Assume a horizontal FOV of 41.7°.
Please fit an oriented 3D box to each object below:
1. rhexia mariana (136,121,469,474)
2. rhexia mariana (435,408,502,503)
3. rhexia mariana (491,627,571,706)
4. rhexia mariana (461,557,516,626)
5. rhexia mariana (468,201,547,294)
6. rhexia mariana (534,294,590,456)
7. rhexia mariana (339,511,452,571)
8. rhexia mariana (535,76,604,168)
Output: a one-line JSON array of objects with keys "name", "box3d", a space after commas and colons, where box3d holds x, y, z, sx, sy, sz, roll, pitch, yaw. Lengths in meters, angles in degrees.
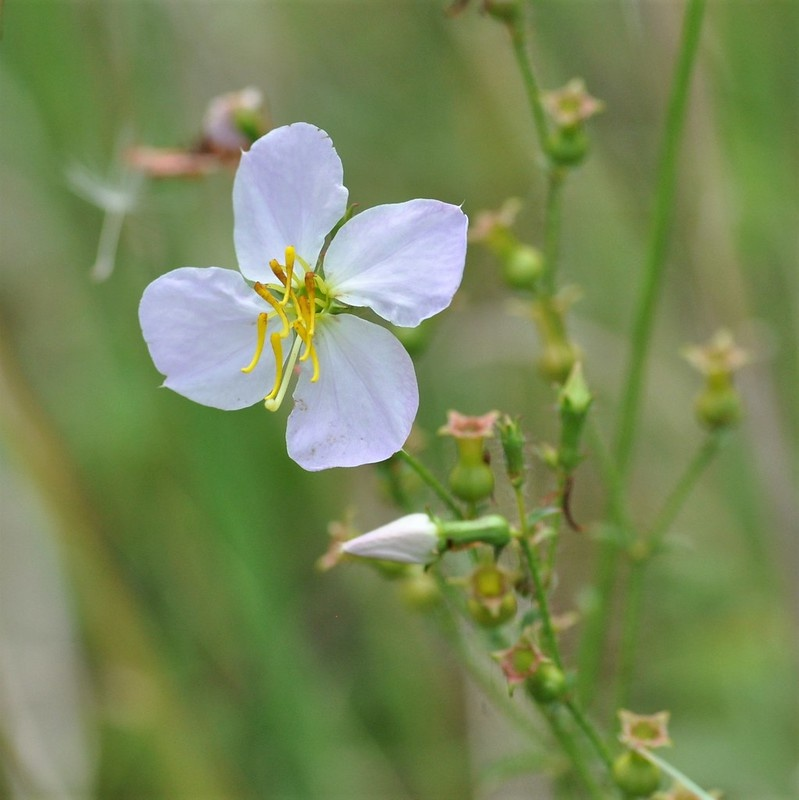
[{"name": "rhexia mariana", "box3d": [-0.076, -0.081, 0.814, 0.185, 0.092, 0.276, 26, 61, 20]}, {"name": "rhexia mariana", "box3d": [0.049, 0.035, 0.839, 0.052, 0.080, 0.061, -4, 22, -1]}, {"name": "rhexia mariana", "box3d": [0.099, 0.204, 0.804, 0.038, 0.045, 0.072, 39, -2, 29]}, {"name": "rhexia mariana", "box3d": [0.066, 0.144, 0.776, 0.040, 0.044, 0.043, 30, -11, 9]}, {"name": "rhexia mariana", "box3d": [0.104, -0.145, 0.991, 0.058, 0.074, 0.104, -16, 15, -10]}, {"name": "rhexia mariana", "box3d": [0.133, -0.020, 0.895, 0.033, 0.201, 0.053, -2, -9, 9]}, {"name": "rhexia mariana", "box3d": [0.000, 0.100, 0.739, 0.057, 0.032, 0.035, -4, -1, -4]}, {"name": "rhexia mariana", "box3d": [0.136, -0.230, 0.910, 0.058, 0.066, 0.063, 21, 47, 15]}]
